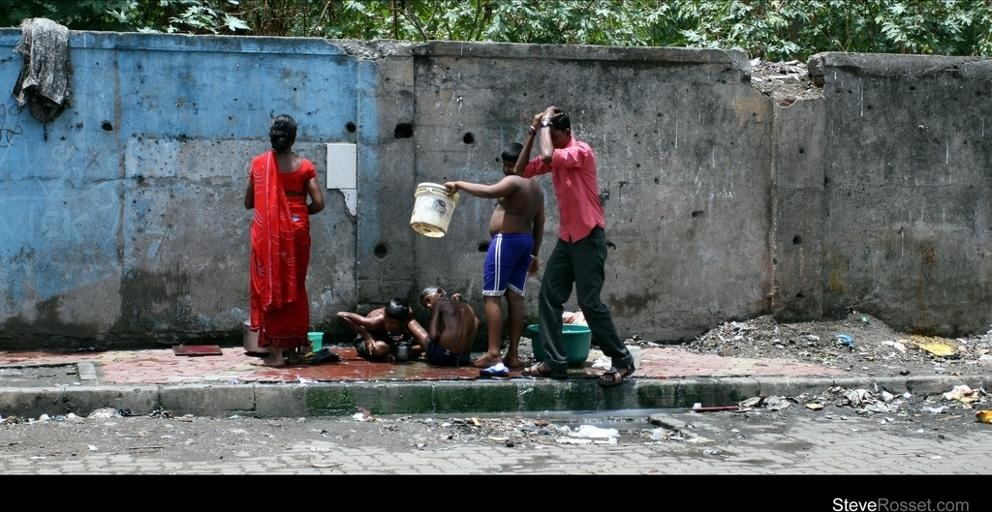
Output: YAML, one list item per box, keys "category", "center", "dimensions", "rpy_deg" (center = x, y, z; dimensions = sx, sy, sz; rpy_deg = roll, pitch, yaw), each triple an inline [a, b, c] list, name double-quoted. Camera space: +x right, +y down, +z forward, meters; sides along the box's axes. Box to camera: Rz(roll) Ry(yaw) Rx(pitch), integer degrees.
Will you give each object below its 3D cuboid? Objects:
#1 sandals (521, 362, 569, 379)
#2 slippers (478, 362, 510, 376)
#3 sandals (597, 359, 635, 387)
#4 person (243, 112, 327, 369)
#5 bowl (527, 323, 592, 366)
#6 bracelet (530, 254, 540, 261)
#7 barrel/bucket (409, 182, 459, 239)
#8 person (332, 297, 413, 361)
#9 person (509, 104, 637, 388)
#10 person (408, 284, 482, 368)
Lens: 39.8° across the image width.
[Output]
- category: "sandals"
  center: [0.599, 1.422, 17.008]
  dimensions: [0.582, 0.130, 0.213]
  rpy_deg: [1, -2, 29]
- category: "slippers"
  center: [-0.027, 1.408, 17.145]
  dimensions: [0.362, 0.152, 0.363]
  rpy_deg: [0, 2, 1]
- category: "sandals"
  center: [1.464, 1.469, 16.847]
  dimensions: [0.231, 0.132, 0.546]
  rpy_deg: [0, 4, 37]
- category: "person"
  center: [-2.668, -0.181, 17.208]
  dimensions: [0.865, 3.141, 0.343]
  rpy_deg: [-1, 3, -7]
- category: "bowl"
  center: [0.884, 1.125, 17.417]
  dimensions: [0.743, 0.311, 0.634]
  rpy_deg: [0, -7, 0]
- category: "bracelet"
  center: [0.475, 0.017, 17.609]
  dimensions: [0.135, 0.094, 0.115]
  rpy_deg: [0, -2, 0]
- category: "barrel/bucket"
  center: [-0.799, -0.586, 17.167]
  dimensions: [0.551, 0.644, 0.257]
  rpy_deg: [-1, 3, -2]
- category: "person"
  center: [-1.474, 1.006, 17.824]
  dimensions: [0.914, 0.662, 1.194]
  rpy_deg: [-11, -14, 34]
- category: "person"
  center: [0.947, -0.123, 16.917]
  dimensions: [1.414, 3.417, 0.604]
  rpy_deg: [0, 3, 10]
- category: "person"
  center: [-0.788, 0.912, 17.819]
  dimensions: [0.941, 0.935, 1.105]
  rpy_deg: [-1, 6, -23]
